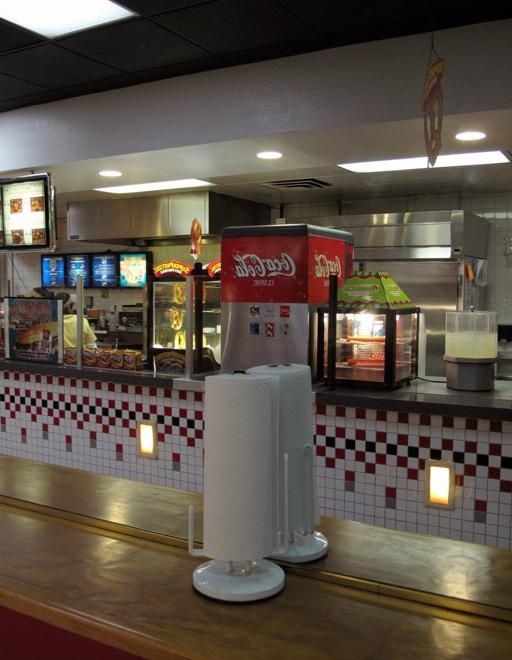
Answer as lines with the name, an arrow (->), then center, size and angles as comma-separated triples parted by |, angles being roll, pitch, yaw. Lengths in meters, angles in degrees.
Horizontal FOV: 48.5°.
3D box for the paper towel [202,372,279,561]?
paper towel -> -0.021, 0.199, 1.072 | 0.107, 0.220, 0.102 | 3, -8, -19
